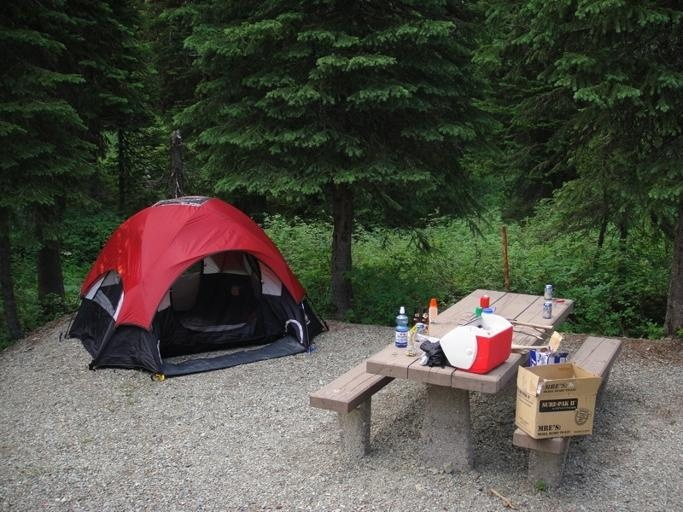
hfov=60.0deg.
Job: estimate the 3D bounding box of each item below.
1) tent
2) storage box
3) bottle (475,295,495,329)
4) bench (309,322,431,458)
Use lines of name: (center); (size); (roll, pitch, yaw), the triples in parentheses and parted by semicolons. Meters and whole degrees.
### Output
tent: (-2.455, 0.332, 9.779); (3.507, 2.595, 2.334); (-8, 10, -25)
storage box: (2.274, 1.530, 6.279); (0.756, 0.624, 0.475); (2, 5, -17)
bottle: (1.723, 0.676, 7.109); (0.241, 0.438, 0.236); (-3, 12, 1)
bench: (0.306, 1.859, 7.289); (0.544, 0.806, 1.651); (-10, 5, 24)
